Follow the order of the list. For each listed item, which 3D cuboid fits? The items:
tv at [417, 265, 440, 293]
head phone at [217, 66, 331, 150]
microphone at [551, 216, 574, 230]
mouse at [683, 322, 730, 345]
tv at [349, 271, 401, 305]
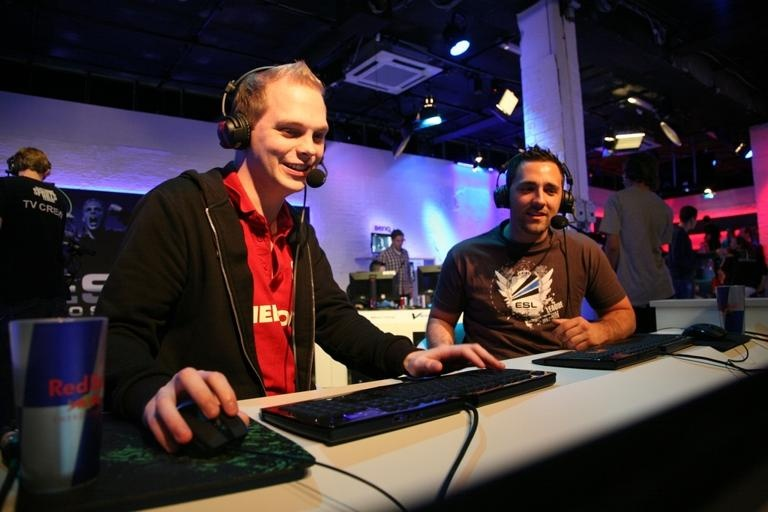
[{"bbox_3d":[0.527,0.280,6.335,0.344,0.288,0.183,0,-8,6],"label":"tv"},{"bbox_3d":[-0.417,-0.552,1.999,0.370,0.317,0.145,-5,27,-36],"label":"head phone"},{"bbox_3d":[0.836,-0.161,2.553,0.075,0.060,0.074,3,12,15],"label":"microphone"},{"bbox_3d":[1.314,0.320,2.179,0.088,0.046,0.146,-6,-18,-16],"label":"mouse"},{"bbox_3d":[-0.117,0.389,6.236,0.427,0.339,0.137,0,-5,-1],"label":"tv"}]
